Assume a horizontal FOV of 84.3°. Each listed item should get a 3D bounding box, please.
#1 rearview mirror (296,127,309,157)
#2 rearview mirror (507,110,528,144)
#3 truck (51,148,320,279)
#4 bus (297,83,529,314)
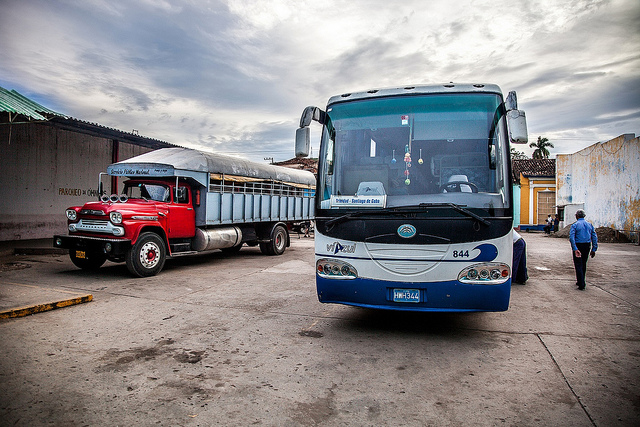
[{"bbox_3d":[-0.301,-1.315,6.474,0.217,0.500,0.136,1,6,3],"label":"rearview mirror"},{"bbox_3d":[3.160,-1.399,5.665,0.295,0.527,0.177,3,6,24],"label":"rearview mirror"},{"bbox_3d":[-4.132,-0.265,13.949,3.298,3.375,10.018,1,3,29],"label":"truck"},{"bbox_3d":[2.495,-0.404,9.546,4.032,3.701,8.199,-1,1,16],"label":"bus"}]
